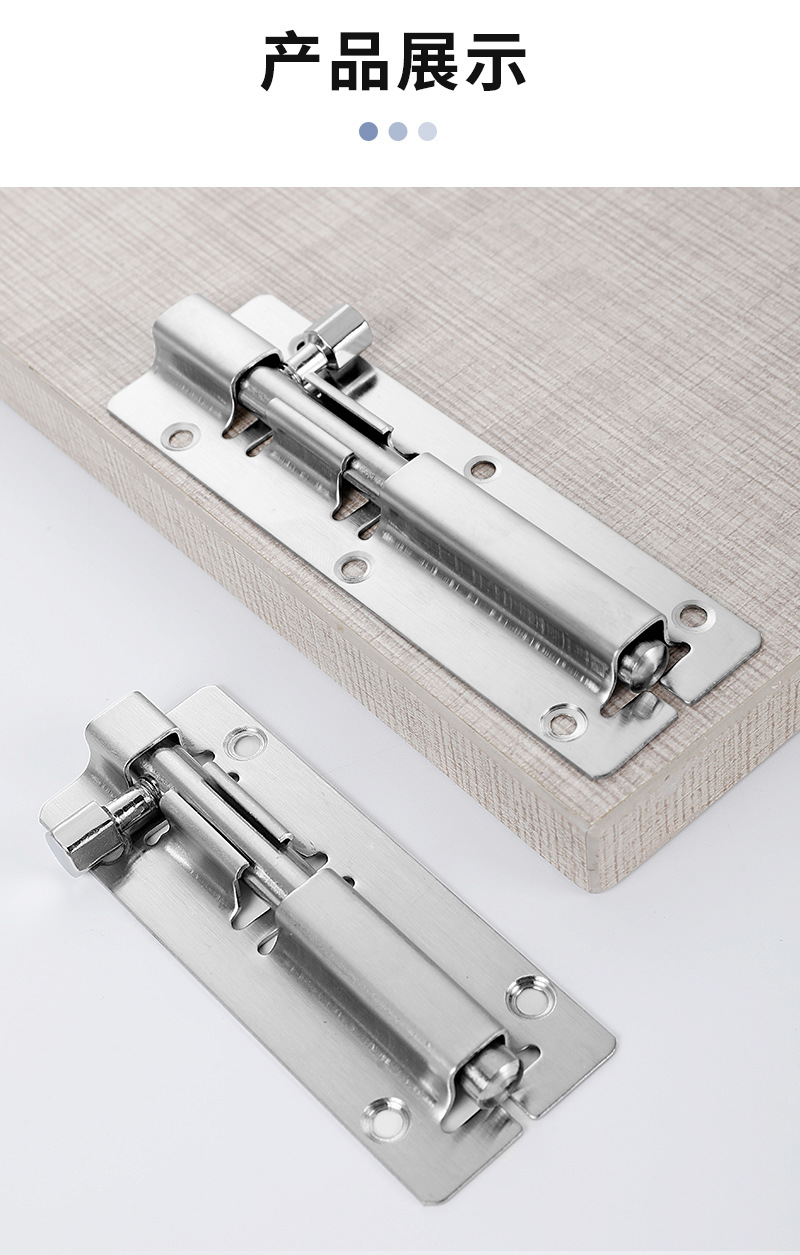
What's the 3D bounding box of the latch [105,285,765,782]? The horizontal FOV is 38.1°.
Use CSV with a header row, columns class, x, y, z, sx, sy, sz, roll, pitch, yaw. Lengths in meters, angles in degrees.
class,x,y,z,sx,sy,sz,roll,pitch,yaw
latch,0.001,-0.050,0.859,0.541,0.221,0.093,40,-23,29
